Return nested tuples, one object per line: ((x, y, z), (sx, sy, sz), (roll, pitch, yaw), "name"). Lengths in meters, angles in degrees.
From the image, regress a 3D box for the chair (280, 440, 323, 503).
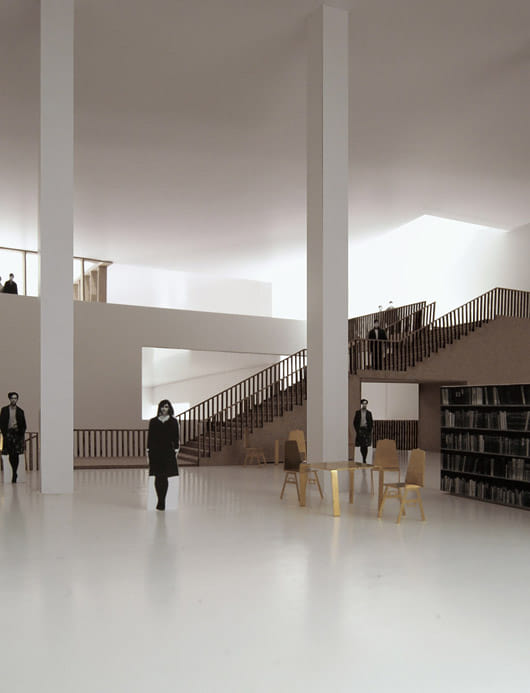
((0.455, 1.619, 8.473), (0.335, 0.793, 0.370), (-5, -5, 42), "chair")

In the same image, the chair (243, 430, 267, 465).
((-0.276, 2.244, 13.989), (0.479, 0.934, 0.530), (-3, -5, 31), "chair")

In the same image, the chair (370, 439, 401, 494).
((1.539, 1.585, 8.479), (0.341, 0.897, 0.409), (-2, -9, 42), "chair")

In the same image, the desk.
((0.857, 1.764, 8.270), (0.849, 0.616, 2.326), (-2, -4, 2), "desk")

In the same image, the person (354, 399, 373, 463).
((1.922, 1.639, 12.348), (0.307, 1.399, 0.301), (-1, 27, 9), "person")

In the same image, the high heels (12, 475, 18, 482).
((-4.040, 2.172, 10.265), (0.044, 0.134, 0.155), (-1, -13, 8), "high heels")

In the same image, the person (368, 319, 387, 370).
((2.719, -0.008, 15.276), (0.394, 1.217, 2.068), (-2, -4, 11), "person")

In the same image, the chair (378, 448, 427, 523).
((1.611, 1.547, 7.308), (0.380, 0.861, 0.433), (5, -4, 39), "chair")
